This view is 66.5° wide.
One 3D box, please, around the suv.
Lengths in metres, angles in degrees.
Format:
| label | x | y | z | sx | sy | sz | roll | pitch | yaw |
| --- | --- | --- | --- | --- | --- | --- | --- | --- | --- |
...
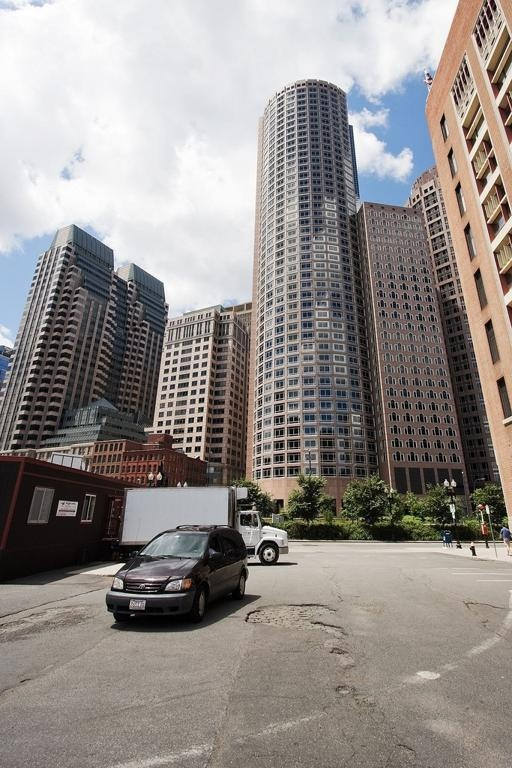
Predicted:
| label | x | y | z | sx | sy | sz | roll | pitch | yaw |
| --- | --- | --- | --- | --- | --- | --- | --- | --- | --- |
| suv | -1.418 | 3.927 | 8.346 | 1.461 | 1.456 | 3.223 | -9 | -27 | 9 |
